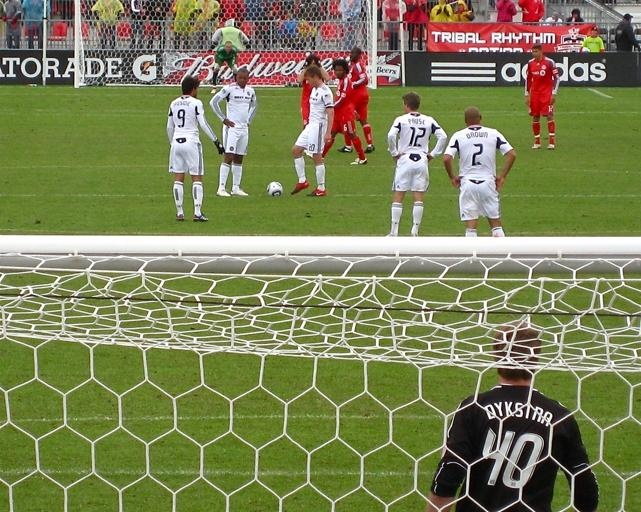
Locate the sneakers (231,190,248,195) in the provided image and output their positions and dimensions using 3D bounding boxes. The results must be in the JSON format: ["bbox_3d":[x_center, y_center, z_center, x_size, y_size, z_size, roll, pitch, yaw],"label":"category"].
[{"bbox_3d":[-1.112,-0.900,21.423,0.235,0.097,0.079,-1,13,-7],"label":"sneakers"}]

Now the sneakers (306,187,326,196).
[{"bbox_3d":[-0.063,-0.915,21.461,0.248,0.099,0.091,3,7,26],"label":"sneakers"}]

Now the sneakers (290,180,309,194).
[{"bbox_3d":[-0.315,-0.970,21.538,0.117,0.161,0.312,-2,-10,-32],"label":"sneakers"}]

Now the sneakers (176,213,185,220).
[{"bbox_3d":[-1.790,-0.533,19.902,0.069,0.090,0.200,-1,6,-10],"label":"sneakers"}]

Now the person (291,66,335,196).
[{"bbox_3d":[-0.118,-1.688,21.002,0.529,1.816,0.694,-2,12,-4],"label":"person"}]

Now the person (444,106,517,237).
[{"bbox_3d":[1.804,-0.986,17.871,0.790,1.458,0.445,1,12,6],"label":"person"}]

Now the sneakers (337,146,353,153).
[{"bbox_3d":[0.379,-1.742,24.999,0.091,0.116,0.264,-9,16,-25],"label":"sneakers"}]

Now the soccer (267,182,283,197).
[{"bbox_3d":[-0.638,-0.966,21.555,0.208,0.178,0.368,-1,12,-1],"label":"soccer"}]

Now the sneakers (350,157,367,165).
[{"bbox_3d":[0.571,-1.478,23.747,0.268,0.105,0.091,3,5,18],"label":"sneakers"}]

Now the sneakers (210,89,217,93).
[{"bbox_3d":[-2.021,-3.180,29.667,0.088,0.064,0.159,1,8,-10],"label":"sneakers"}]

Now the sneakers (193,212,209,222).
[{"bbox_3d":[-1.500,-0.514,19.757,0.227,0.111,0.079,1,13,3],"label":"sneakers"}]

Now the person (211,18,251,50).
[{"bbox_3d":[-1.704,-4.171,29.670,0.654,0.279,0.781,7,-9,5],"label":"person"}]
